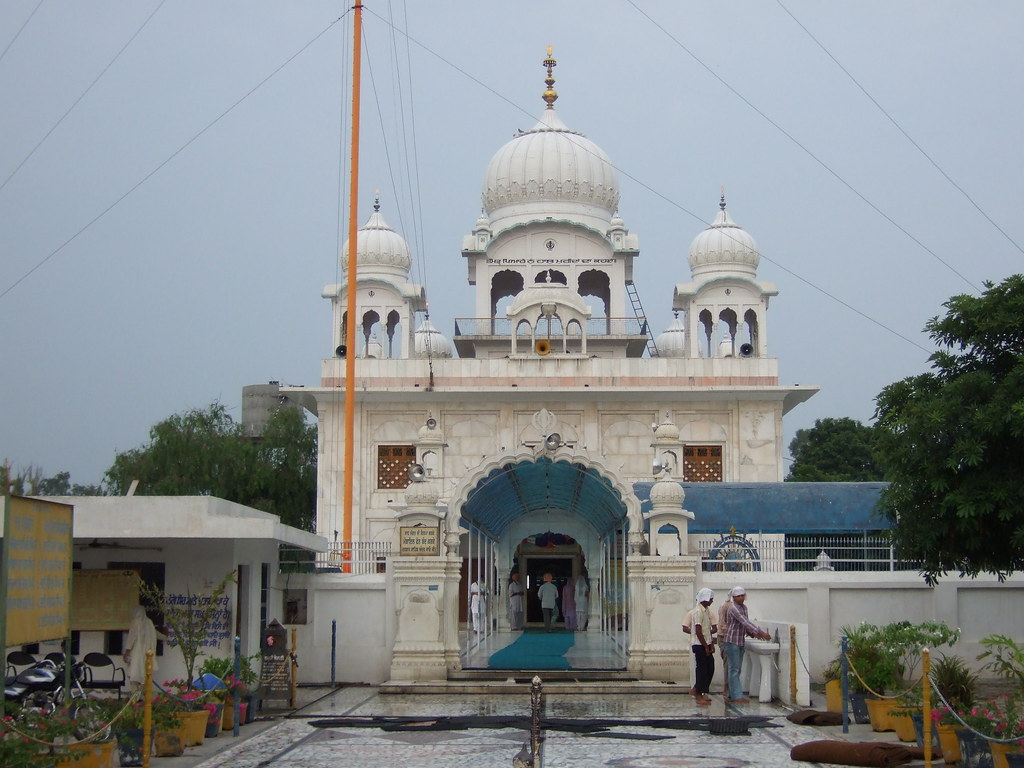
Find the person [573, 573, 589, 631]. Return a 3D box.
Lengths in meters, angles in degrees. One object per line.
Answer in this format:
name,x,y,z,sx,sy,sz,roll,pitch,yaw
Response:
person,1.924,6.003,43.766,0.388,1.609,1.044,0,-13,2

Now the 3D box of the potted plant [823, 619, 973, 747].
potted plant,6.201,4.689,26.640,1.882,2.375,1.710,3,-18,-5

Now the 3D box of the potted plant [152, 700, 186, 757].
potted plant,-5.101,5.213,24.118,0.583,0.546,0.659,3,-19,-10

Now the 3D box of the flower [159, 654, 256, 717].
flower,-4.808,4.910,26.152,0.871,0.776,0.961,3,-16,-18
